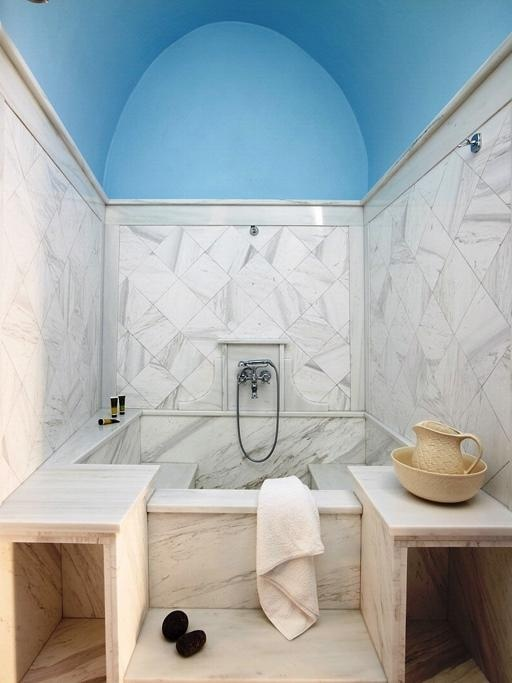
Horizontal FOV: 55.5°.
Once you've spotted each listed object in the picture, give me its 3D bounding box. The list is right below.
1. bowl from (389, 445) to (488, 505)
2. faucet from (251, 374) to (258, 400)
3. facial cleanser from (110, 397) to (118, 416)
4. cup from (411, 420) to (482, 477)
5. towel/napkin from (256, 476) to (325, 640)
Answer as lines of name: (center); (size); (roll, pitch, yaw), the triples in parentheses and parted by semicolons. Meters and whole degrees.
bowl: (0.521, 0.400, 1.380); (0.225, 0.114, 0.247); (-2, 2, 0)
faucet: (-0.008, 0.254, 2.591); (0.034, 0.137, 0.089); (-1, 7, -1)
facial cleanser: (-0.703, 0.335, 2.421); (0.032, 0.090, 0.095); (-2, 7, -17)
cup: (0.521, 0.291, 1.378); (0.112, 0.159, 0.185); (0, 1, -41)
towel/napkin: (0.094, 0.611, 1.437); (0.166, 0.134, 0.505); (-2, 24, 1)
